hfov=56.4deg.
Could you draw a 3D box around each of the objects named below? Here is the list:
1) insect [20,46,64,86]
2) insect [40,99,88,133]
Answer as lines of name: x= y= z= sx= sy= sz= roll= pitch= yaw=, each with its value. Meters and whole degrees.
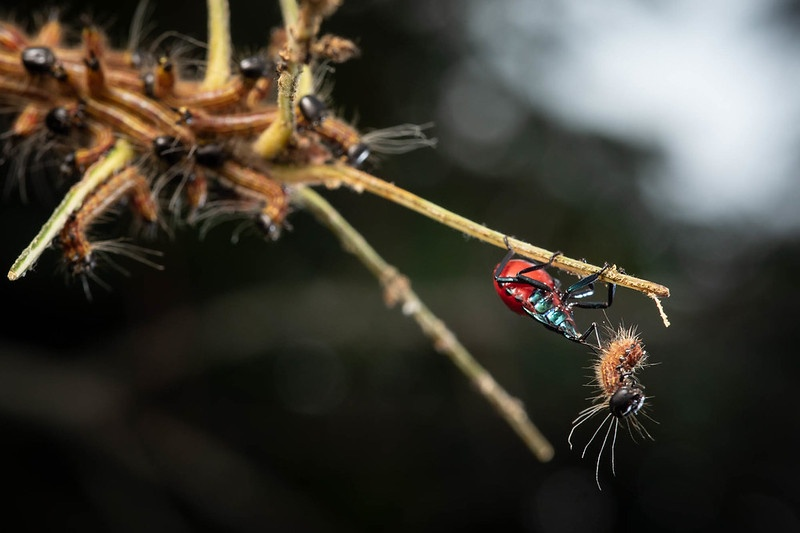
insect: x=-1.051 y=-0.588 z=2.195 sx=0.126 sy=0.078 sz=0.035 roll=26 pitch=-9 yaw=-16
insect: x=-1.010 y=-0.442 z=2.223 sx=0.102 sy=0.085 sz=0.042 roll=8 pitch=7 yaw=8
